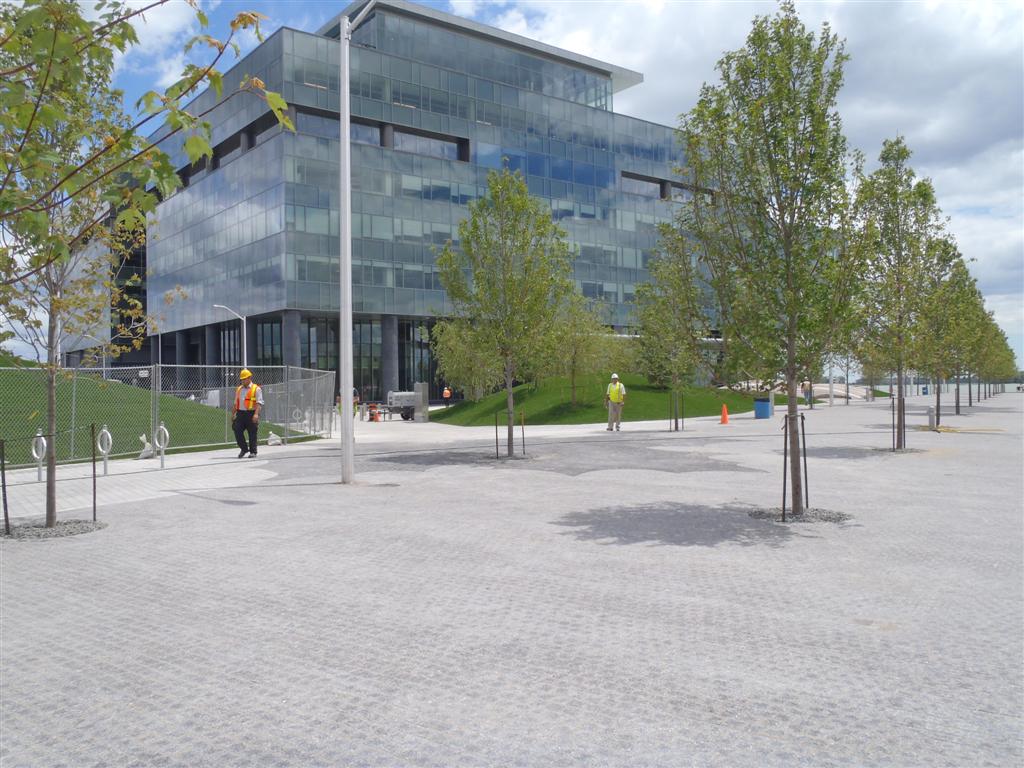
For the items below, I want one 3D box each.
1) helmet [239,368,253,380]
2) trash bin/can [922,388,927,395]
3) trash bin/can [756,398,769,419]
[{"bbox_3d":[-6.741,-0.233,25.120,0.377,0.298,0.546,-6,11,-28],"label":"helmet"},{"bbox_3d":[41.510,0.764,98.966,0.617,0.693,0.364,2,5,15],"label":"trash bin/can"},{"bbox_3d":[11.791,1.152,46.260,0.659,1.036,0.967,-1,-4,8],"label":"trash bin/can"}]
